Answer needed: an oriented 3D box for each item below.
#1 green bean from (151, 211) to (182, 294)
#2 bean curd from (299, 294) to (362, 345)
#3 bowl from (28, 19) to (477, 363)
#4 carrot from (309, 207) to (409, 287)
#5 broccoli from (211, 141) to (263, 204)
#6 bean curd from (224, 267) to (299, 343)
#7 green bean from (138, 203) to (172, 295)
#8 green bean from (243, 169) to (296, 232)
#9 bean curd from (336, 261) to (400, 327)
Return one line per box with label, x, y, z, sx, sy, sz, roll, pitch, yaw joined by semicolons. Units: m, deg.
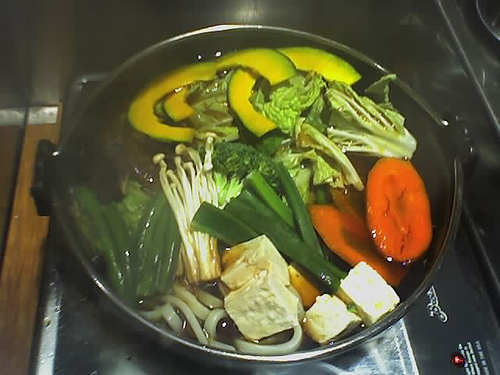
green bean;-0.241;0.189;1.256;0.050;0.035;0.219;14;71;-11
bean curd;0.223;0.370;1.211;0.140;0.055;0.130;-39;71;-23
bowl;0.014;-0.061;1.330;1.248;0.292;1.071;27;62;9
carrot;0.322;0.143;1.299;0.371;0.044;0.163;28;95;37
broccoli;-0.076;-0.054;1.357;0.159;0.167;0.209;0;95;15
bean curd;0.037;0.329;1.181;0.180;0.050;0.189;-36;95;7
green bean;-0.269;0.179;1.262;0.050;0.032;0.266;12;73;-2
green bean;0.068;0.045;1.355;0.152;0.170;0.170;-9;30;-17
bean curd;0.334;0.287;1.211;0.148;0.043;0.163;-40;77;-4
